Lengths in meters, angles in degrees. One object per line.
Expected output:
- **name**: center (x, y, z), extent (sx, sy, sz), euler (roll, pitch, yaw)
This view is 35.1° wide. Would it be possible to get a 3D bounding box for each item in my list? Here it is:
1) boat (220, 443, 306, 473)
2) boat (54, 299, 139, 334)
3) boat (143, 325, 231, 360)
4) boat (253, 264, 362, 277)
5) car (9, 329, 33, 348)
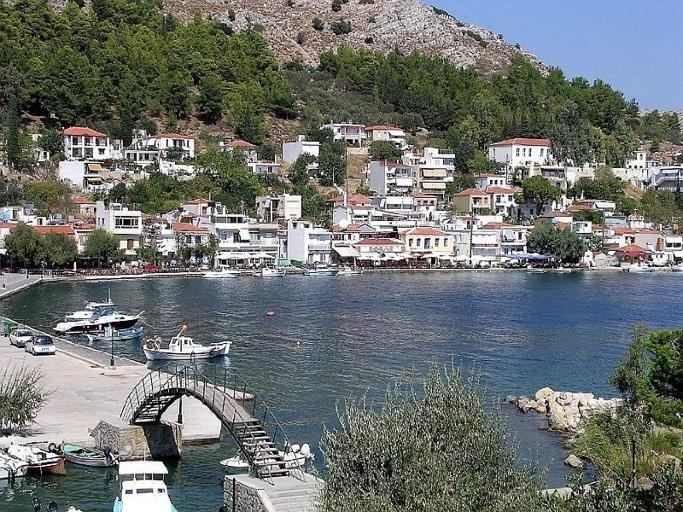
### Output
- **boat**: center (-2.884, 8.407, 44.478), extent (4.013, 1.421, 1.394), euler (-1, 0, -10)
- **boat**: center (-15.528, 4.262, 68.684), extent (4.223, 1.868, 2.255), euler (-4, 6, -22)
- **boat**: center (-8.974, 5.032, 62.179), extent (4.685, 1.771, 3.530), euler (0, 10, -11)
- **boat**: center (-2.814, 1.554, 104.419), extent (10.044, 0.894, 2.686), euler (-2, 10, -20)
- **car**: center (-18.213, 4.715, 61.461), extent (0.834, 0.673, 1.878), euler (0, 0, -27)
